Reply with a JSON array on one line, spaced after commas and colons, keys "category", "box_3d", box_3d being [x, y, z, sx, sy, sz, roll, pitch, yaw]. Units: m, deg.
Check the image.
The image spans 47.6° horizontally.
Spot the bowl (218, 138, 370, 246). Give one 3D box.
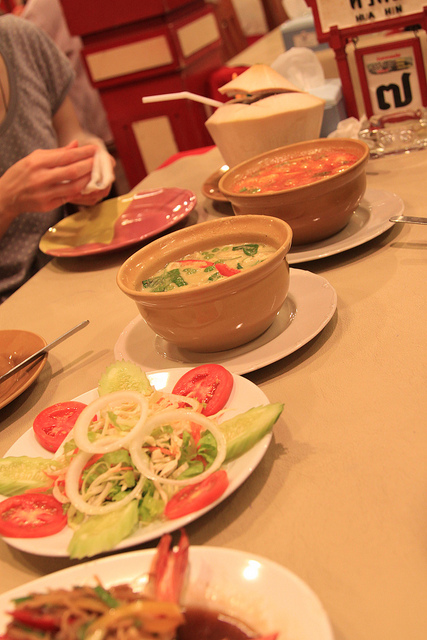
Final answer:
[{"category": "bowl", "box_3d": [0.177, -0.206, 0.868, 0.203, 0.106, 0.210, -24, 16, 7]}]

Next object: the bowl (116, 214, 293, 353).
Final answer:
[{"category": "bowl", "box_3d": [0.028, -0.023, 0.671, 0.185, 0.095, 0.190, -27, 6, 3]}]

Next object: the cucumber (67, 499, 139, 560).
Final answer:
[{"category": "cucumber", "box_3d": [-0.087, 0.165, 0.389, 0.034, 0.010, 0.057, -1, 21, 34]}]

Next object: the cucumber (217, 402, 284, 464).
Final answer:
[{"category": "cucumber", "box_3d": [0.035, 0.100, 0.451, 0.071, 0.015, 0.052, -26, 23, 3]}]
